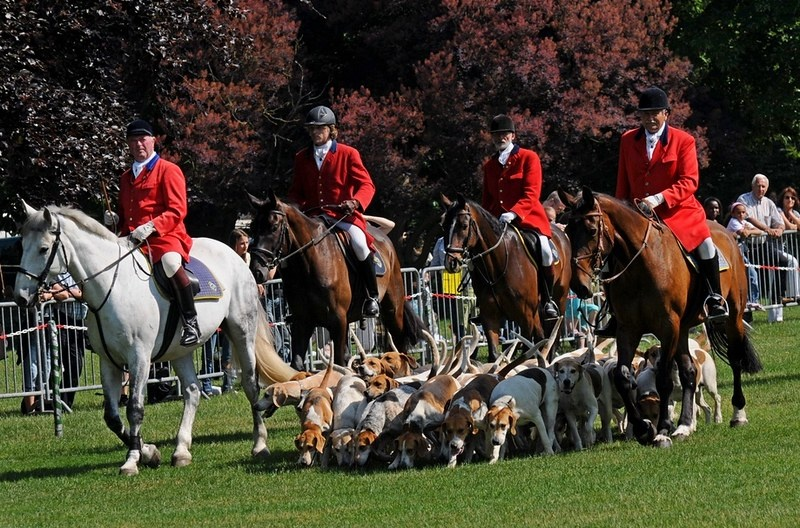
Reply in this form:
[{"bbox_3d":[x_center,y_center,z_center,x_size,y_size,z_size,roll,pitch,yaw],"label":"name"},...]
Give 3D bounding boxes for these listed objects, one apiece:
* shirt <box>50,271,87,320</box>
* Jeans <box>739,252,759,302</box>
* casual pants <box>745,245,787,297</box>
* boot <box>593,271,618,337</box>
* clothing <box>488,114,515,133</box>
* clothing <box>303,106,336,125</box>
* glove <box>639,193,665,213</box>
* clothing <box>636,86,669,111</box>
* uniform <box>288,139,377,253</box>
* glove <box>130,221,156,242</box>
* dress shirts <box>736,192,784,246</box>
[{"bbox_3d":[-5.455,0.471,18.108,0.944,0.671,0.051,4,13,8],"label":"shirt"},{"bbox_3d":[6.584,0.245,20.840,0.273,1.001,0.552,-5,13,-11],"label":"Jeans"},{"bbox_3d":[8.082,0.067,24.483,1.455,1.457,0.055,6,-9,-34],"label":"casual pants"},{"bbox_3d":[3.069,0.589,16.457,0.313,0.985,0.578,13,-5,4],"label":"boot"},{"bbox_3d":[1.791,-2.469,19.365,0.354,0.273,0.458,-1,9,4],"label":"clothing"},{"bbox_3d":[-1.346,-2.475,18.437,0.460,0.327,0.407,-4,6,-4],"label":"clothing"},{"bbox_3d":[3.588,-0.895,15.757,0.265,0.107,0.360,-1,23,46],"label":"glove"},{"bbox_3d":[3.671,-2.406,16.059,0.411,0.328,0.449,-3,6,13],"label":"clothing"},{"bbox_3d":[-1.221,-1.210,18.865,1.576,1.905,1.097,0,14,12],"label":"uniform"},{"bbox_3d":[-3.726,-0.497,15.982,0.322,0.147,0.236,-23,33,-10],"label":"glove"},{"bbox_3d":[7.897,-0.977,24.297,0.344,1.131,0.629,-23,-24,33],"label":"dress shirts"}]
